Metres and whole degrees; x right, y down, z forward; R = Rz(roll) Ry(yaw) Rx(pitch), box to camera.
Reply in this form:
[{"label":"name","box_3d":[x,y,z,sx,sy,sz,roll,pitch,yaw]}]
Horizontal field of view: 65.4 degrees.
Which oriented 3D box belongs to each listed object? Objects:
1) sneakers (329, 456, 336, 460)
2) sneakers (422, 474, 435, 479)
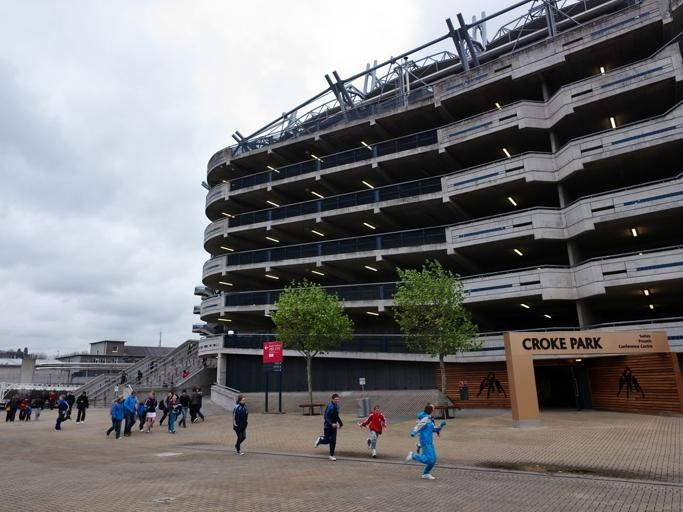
[{"label":"sneakers","box_3d":[-0.278,7.100,18.712,0.218,0.133,0.439,-7,-17,22]},{"label":"sneakers","box_3d":[2.613,6.690,16.127,0.413,0.140,0.135,0,-5,7]}]
